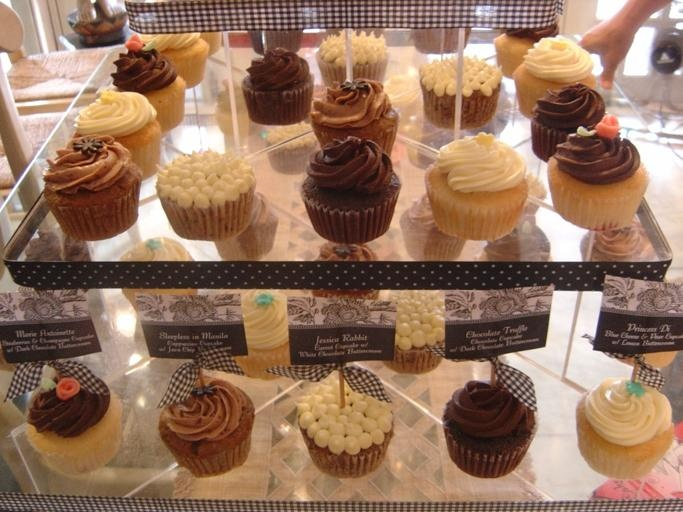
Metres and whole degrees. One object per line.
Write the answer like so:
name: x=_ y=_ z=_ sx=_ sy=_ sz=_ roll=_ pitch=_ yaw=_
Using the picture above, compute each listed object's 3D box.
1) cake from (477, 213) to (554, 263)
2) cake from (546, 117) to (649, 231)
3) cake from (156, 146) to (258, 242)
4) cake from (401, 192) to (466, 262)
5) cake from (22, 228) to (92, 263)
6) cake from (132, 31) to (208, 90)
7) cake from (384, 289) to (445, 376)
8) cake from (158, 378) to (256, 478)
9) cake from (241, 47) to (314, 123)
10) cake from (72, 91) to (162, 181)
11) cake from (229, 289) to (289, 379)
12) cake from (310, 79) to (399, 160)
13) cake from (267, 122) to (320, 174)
cake: x=0.633 y=-0.064 z=1.821 sx=0.218 sy=0.067 sz=0.345 roll=8 pitch=35 yaw=18
cake: x=0.890 y=-0.313 z=1.953 sx=0.367 sy=0.396 sz=0.397 roll=-1 pitch=42 yaw=4
cake: x=-0.496 y=-0.178 z=2.034 sx=0.349 sy=0.268 sz=0.346 roll=21 pitch=44 yaw=19
cake: x=0.328 y=-0.098 z=1.873 sx=0.184 sy=0.234 sz=0.207 roll=11 pitch=27 yaw=23
cake: x=-0.961 y=-0.029 z=1.719 sx=0.135 sy=0.043 sz=0.144 roll=4 pitch=36 yaw=-3
cake: x=-0.951 y=-1.125 z=2.910 sx=0.360 sy=0.347 sz=0.385 roll=-5 pitch=42 yaw=-7
cake: x=0.342 y=0.316 z=2.301 sx=0.272 sy=0.193 sz=0.376 roll=0 pitch=36 yaw=3
cake: x=-0.499 y=0.689 z=2.109 sx=0.368 sy=0.337 sz=0.390 roll=-3 pitch=48 yaw=-3
cake: x=-0.316 y=-0.850 z=2.652 sx=0.352 sy=0.341 sz=0.382 roll=0 pitch=43 yaw=-1
cake: x=-0.912 y=-0.485 z=2.068 sx=0.292 sy=0.303 sz=0.298 roll=-23 pitch=49 yaw=-25
cake: x=-0.297 y=0.323 z=2.263 sx=0.268 sy=0.382 sz=0.335 roll=-2 pitch=14 yaw=-3
cake: x=0.057 y=-0.574 z=2.240 sx=0.304 sy=0.294 sz=0.346 roll=-17 pitch=40 yaw=-3
cake: x=-0.228 y=-0.521 z=2.423 sx=0.238 sy=0.223 sz=0.312 roll=1 pitch=32 yaw=-1
